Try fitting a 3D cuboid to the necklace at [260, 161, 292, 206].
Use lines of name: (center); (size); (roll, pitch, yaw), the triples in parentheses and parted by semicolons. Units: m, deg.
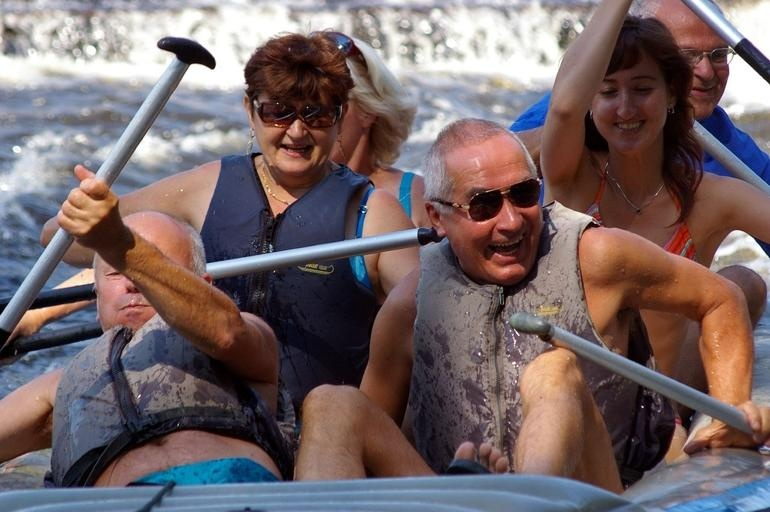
necklace: (-0.550, -0.381, 6.621); (0.169, 0.207, 0.044); (1, 25, 29)
